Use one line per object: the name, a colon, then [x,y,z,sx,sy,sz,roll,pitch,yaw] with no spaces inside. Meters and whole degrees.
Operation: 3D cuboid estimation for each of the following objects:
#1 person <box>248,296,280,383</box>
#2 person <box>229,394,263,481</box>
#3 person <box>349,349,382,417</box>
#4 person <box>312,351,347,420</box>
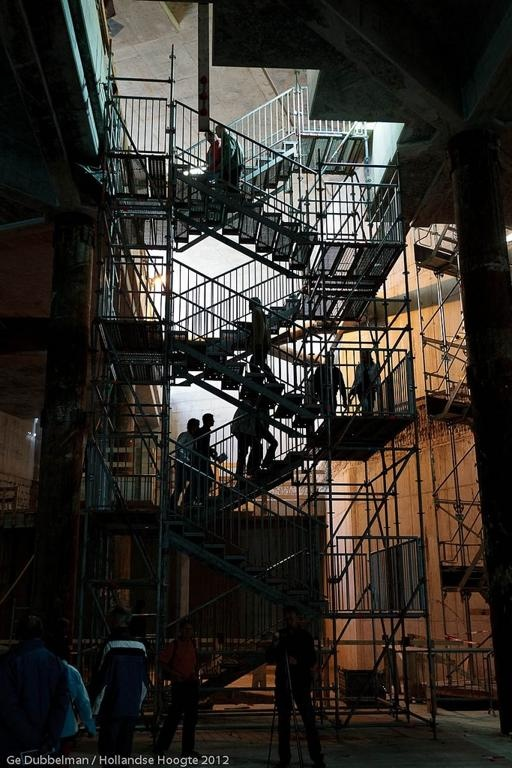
person: [0.095,-0.762,13.303,0.404,1.640,0.861,0,-15,-1]
person: [-0.179,0.857,13.277,0.505,1.378,0.576,-2,-15,4]
person: [1.809,0.001,13.371,0.495,1.250,1.601,-3,-16,7]
person: [1.178,0.071,13.257,0.677,0.396,1.543,16,-30,12]
